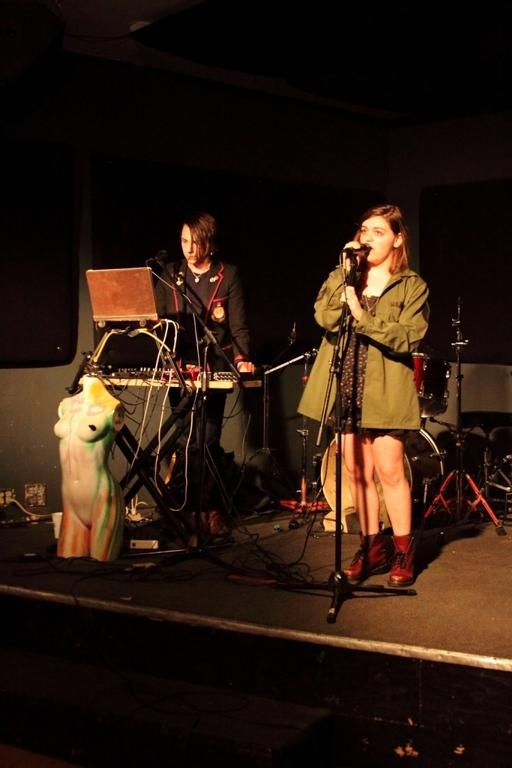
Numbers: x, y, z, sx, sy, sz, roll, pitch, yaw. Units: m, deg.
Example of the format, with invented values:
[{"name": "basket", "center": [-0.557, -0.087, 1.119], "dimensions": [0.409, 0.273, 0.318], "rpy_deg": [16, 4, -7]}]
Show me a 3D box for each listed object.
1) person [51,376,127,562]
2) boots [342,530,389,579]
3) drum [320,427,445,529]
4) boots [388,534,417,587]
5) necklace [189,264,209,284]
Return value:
[{"name": "person", "center": [-0.766, 0.377, 3.069], "dimensions": [0.352, 0.827, 0.278], "rpy_deg": [3, -4, 9]}, {"name": "boots", "center": [0.446, 0.724, 2.843], "dimensions": [0.252, 0.169, 0.092], "rpy_deg": [-4, 0, -33]}, {"name": "drum", "center": [0.742, 0.537, 4.048], "dimensions": [0.603, 0.620, 0.606], "rpy_deg": [8, 5, -42]}, {"name": "boots", "center": [0.587, 0.708, 2.747], "dimensions": [0.105, 0.168, 0.249], "rpy_deg": [-3, -1, 22]}, {"name": "necklace", "center": [-0.305, -0.572, 3.564], "dimensions": [0.086, 0.103, 0.026], "rpy_deg": [2, 0, 2]}]
